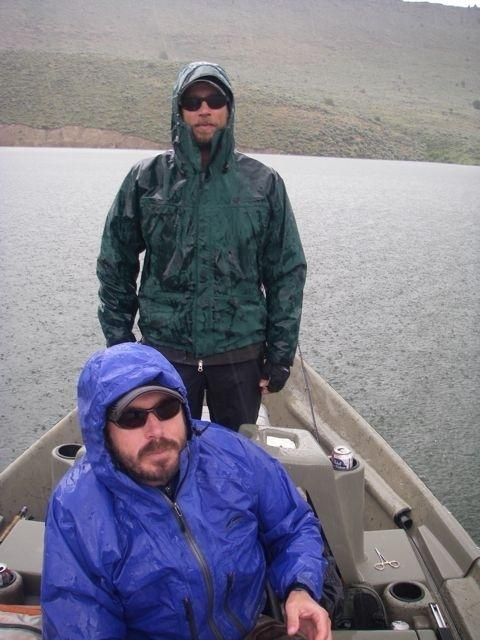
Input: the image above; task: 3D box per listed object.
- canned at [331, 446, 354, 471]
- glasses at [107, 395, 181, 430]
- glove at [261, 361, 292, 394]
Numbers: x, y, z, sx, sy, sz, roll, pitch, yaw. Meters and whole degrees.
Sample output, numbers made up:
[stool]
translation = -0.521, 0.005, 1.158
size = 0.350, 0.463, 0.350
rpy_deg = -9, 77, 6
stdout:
[canned]
translation = 0.312, 0.418, 1.908
size = 0.075, 0.056, 0.067
rpy_deg = 0, 9, 9
[glasses]
translation = -0.186, 0.185, 1.246
size = 0.093, 0.023, 0.090
rpy_deg = -11, -1, -39
[glove]
translation = 0.107, 0.176, 1.953
size = 0.122, 0.090, 0.079
rpy_deg = 2, -1, 1
